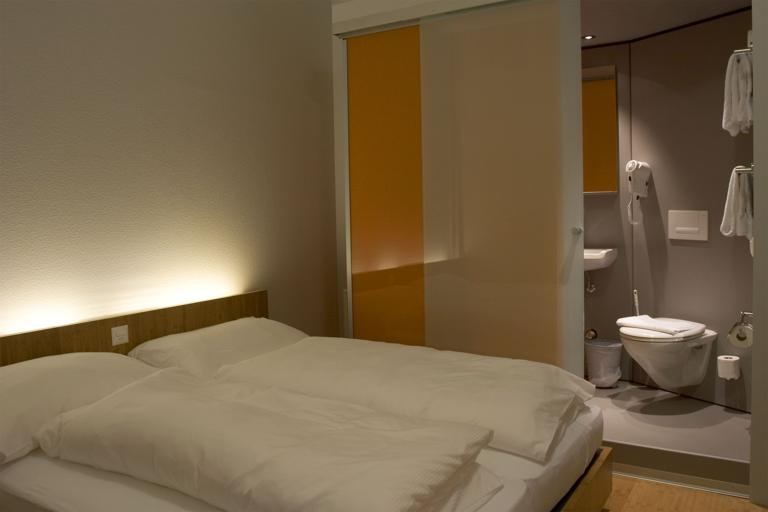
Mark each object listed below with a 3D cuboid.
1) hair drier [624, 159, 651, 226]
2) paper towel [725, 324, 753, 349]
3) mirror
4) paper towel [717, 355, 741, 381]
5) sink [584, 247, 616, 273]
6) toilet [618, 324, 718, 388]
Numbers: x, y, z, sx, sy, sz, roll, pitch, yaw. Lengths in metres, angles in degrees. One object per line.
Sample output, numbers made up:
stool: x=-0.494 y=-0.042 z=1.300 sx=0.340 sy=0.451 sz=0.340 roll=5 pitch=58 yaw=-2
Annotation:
hair drier: x=2.216 y=-0.554 z=4.536 sx=0.213 sy=0.546 sz=0.107 roll=-3 pitch=3 yaw=29
paper towel: x=2.543 y=0.506 z=3.720 sx=0.178 sy=0.267 sz=0.068 roll=-2 pitch=0 yaw=32
mirror: x=1.893 y=-1.093 z=4.686 sx=0.542 sy=1.060 sz=0.061 roll=-10 pitch=11 yaw=-30
paper towel: x=2.579 y=0.827 z=3.971 sx=0.171 sy=0.202 sz=0.181 roll=-2 pitch=-5 yaw=-9
sink: x=1.852 y=0.036 z=4.546 sx=0.255 sy=0.211 sz=0.517 roll=-4 pitch=2 yaw=34
toilet: x=2.280 y=0.834 z=4.240 sx=0.696 sy=0.532 sz=0.567 roll=-5 pitch=3 yaw=-27
